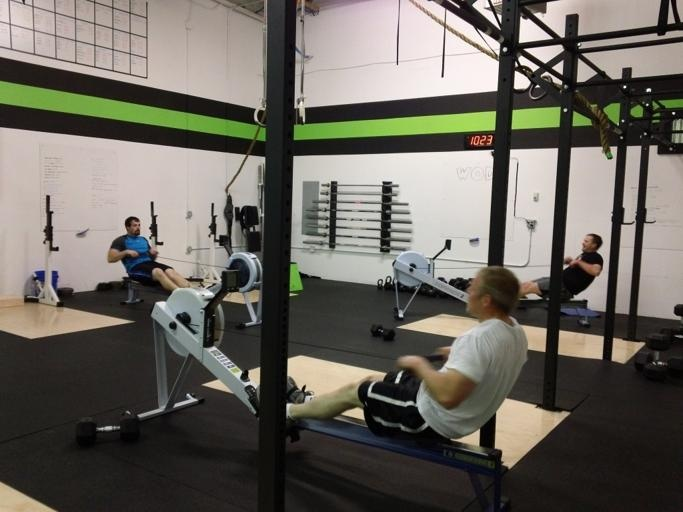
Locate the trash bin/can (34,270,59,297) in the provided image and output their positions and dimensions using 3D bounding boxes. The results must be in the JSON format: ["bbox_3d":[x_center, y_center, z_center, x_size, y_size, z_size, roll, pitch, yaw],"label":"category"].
[{"bbox_3d":[-4.027,0.356,7.200,0.340,0.325,0.267,0,3,-15],"label":"trash bin/can"}]

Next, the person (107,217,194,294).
[{"bbox_3d":[-2.362,-0.030,6.789,1.233,0.843,0.621,11,9,28],"label":"person"}]

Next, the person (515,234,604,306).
[{"bbox_3d":[2.665,0.163,6.356,0.784,0.930,0.646,11,5,43],"label":"person"}]

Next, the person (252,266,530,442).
[{"bbox_3d":[0.284,0.572,3.285,1.614,1.017,0.780,0,-2,29],"label":"person"}]

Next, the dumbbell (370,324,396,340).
[{"bbox_3d":[0.447,0.837,5.840,0.126,0.099,0.248,-3,1,0],"label":"dumbbell"}]

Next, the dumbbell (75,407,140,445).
[{"bbox_3d":[-1.553,1.137,3.517,0.397,0.151,0.246,-2,9,-21],"label":"dumbbell"}]
